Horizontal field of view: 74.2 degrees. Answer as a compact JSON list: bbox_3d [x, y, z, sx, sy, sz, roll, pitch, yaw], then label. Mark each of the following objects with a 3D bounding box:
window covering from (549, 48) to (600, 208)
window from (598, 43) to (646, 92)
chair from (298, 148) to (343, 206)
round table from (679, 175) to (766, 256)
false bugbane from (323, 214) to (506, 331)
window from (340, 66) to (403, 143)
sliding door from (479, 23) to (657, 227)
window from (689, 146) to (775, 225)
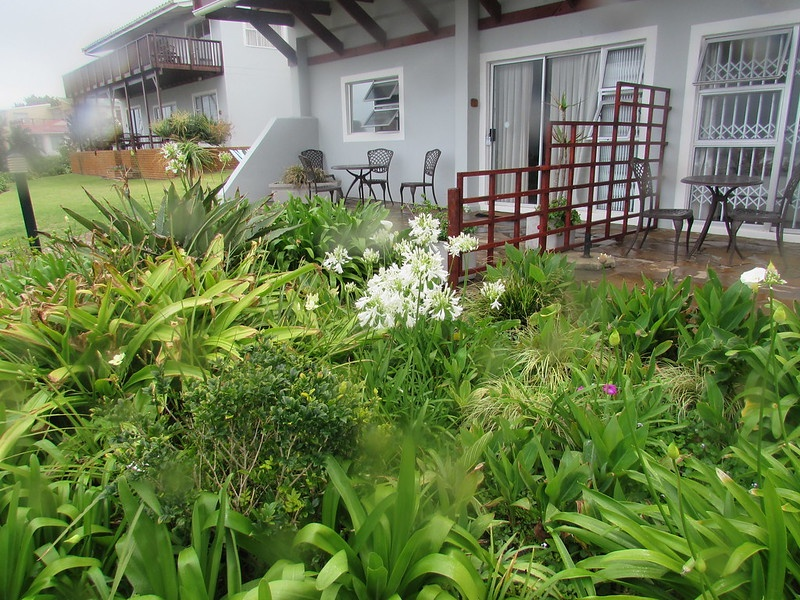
[{"bbox_3d":[2.499,-2.351,7.798,0.604,1.735,0.041,-9,21,-44],"label":"window covering"},{"bbox_3d":[3.088,-3.242,7.324,0.487,0.566,0.041,5,54,21],"label":"window"},{"bbox_3d":[-1.351,-2.171,9.589,0.711,1.108,0.652,8,22,19],"label":"chair"},{"bbox_3d":[3.680,-0.967,5.980,0.871,1.047,0.925,-1,9,0],"label":"round table"},{"bbox_3d":[0.003,-0.073,2.524,0.707,0.595,0.774,-1,16,0],"label":"false bugbane"},{"bbox_3d":[-0.545,-3.970,10.518,1.432,1.353,0.485,11,19,40],"label":"window"},{"bbox_3d":[2.213,-2.491,7.983,2.352,2.704,0.106,3,-13,21],"label":"sliding door"},{"bbox_3d":[3.901,-1.380,6.144,0.049,1.145,0.983,-17,22,-41],"label":"window"}]
